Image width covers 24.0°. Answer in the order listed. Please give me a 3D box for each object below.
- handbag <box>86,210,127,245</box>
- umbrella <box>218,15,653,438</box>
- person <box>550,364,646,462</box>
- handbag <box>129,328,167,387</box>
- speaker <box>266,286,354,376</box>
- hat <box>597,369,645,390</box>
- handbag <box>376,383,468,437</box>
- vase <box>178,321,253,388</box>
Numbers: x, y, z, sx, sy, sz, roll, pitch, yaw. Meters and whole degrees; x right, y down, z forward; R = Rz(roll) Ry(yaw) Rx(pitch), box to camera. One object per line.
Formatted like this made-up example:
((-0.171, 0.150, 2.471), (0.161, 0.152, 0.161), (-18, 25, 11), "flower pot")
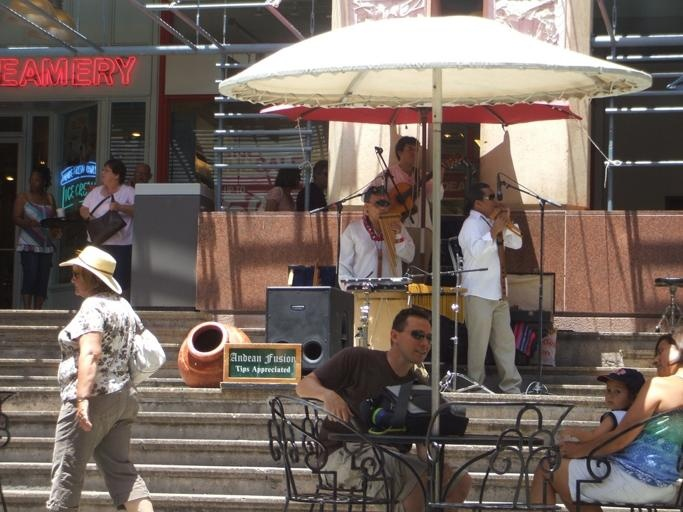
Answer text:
((-2.647, -0.293, 18.124), (0.296, 0.252, 0.110), (-34, 6, 3), "handbag")
((0.720, -0.242, 14.142), (3.507, 3.278, 3.372), (0, -4, -9), "umbrella")
((2.136, 1.242, 13.390), (0.747, 0.821, 0.549), (9, -10, 9), "person")
((-1.758, 0.941, 14.378), (0.285, 0.512, 0.534), (0, -19, -26), "handbag")
((-0.325, 0.739, 15.847), (0.838, 0.816, 0.830), (0, 2, 1), "speaker")
((2.323, 1.037, 13.375), (0.274, 0.147, 0.191), (12, -9, -1), "hat")
((0.603, 1.274, 13.034), (0.595, 0.265, 0.436), (3, 1, -9), "handbag")
((-1.262, 1.014, 15.959), (0.652, 0.632, 0.702), (-2, -21, 8), "vase")
